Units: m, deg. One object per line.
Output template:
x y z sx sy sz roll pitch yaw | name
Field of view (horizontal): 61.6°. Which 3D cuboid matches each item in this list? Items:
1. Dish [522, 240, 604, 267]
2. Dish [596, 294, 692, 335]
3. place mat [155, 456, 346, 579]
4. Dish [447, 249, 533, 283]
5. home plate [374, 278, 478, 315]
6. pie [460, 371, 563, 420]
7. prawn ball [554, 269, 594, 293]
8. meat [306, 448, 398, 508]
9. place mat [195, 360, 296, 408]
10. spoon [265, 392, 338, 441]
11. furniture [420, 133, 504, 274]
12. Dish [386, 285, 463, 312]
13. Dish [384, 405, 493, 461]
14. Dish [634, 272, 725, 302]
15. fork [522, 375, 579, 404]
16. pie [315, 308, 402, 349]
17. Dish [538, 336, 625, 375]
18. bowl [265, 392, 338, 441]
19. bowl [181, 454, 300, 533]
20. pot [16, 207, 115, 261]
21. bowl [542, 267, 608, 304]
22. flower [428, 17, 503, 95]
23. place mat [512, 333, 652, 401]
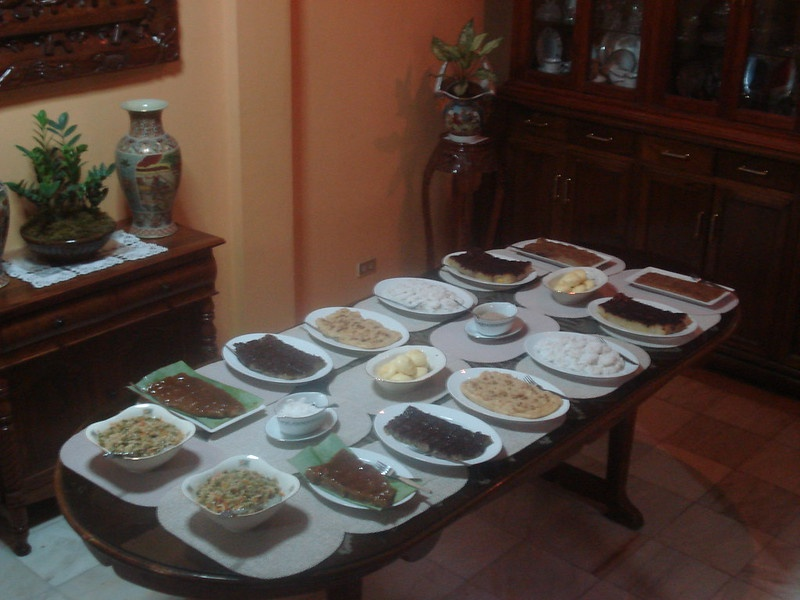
0.668 -0.195 2.793 0.252 0.027 0.149 15 27 28 | Dish
0.825 0.054 2.323 0.293 0.050 0.209 21 32 38 | Dish
-0.285 0.443 1.425 0.410 0.076 0.236 18 34 22 | place mat
0.328 -0.136 2.595 0.259 0.036 0.155 12 25 37 | Dish
0.074 -0.013 2.451 0.304 0.027 0.165 9 28 10 | home plate
0.318 0.276 1.941 0.213 0.019 0.142 14 26 33 | pie
0.640 -0.061 2.488 0.150 0.036 0.110 2 29 16 | prawn ball
-0.106 0.438 1.638 0.170 0.027 0.116 17 24 26 | meat
-0.472 0.284 2.018 0.331 0.010 0.116 16 28 26 | place mat
-0.267 0.317 1.829 0.218 0.050 0.159 -13 28 -20 | spoon
0.446 -0.610 4.152 0.526 0.717 0.393 -10 25 -3 | furniture
0.106 -0.008 2.431 0.164 0.012 0.128 -7 21 -30 | Dish
0.085 0.348 1.767 0.218 0.026 0.126 18 32 28 | Dish
1.053 -0.052 2.554 0.238 0.022 0.141 13 25 29 | Dish
0.441 0.268 1.988 0.164 0.014 0.021 23 42 24 | fork
-0.148 0.099 2.249 0.212 0.025 0.152 21 28 39 | pie
0.550 0.174 2.109 0.211 0.021 0.151 5 22 9 | Dish
-0.250 0.316 1.840 0.189 0.046 0.155 -17 30 -31 | bowl
-0.366 0.442 1.568 0.213 0.054 0.218 2 17 0 | bowl
-1.331 -0.270 2.760 0.331 0.094 0.300 17 28 31 | pot
0.664 -0.065 2.517 0.228 0.061 0.200 -13 23 -21 | bowl
0.379 -1.438 4.006 0.360 0.447 0.720 3 28 4 | flower
0.541 0.166 2.051 0.350 0.056 0.257 -9 23 -18 | place mat
